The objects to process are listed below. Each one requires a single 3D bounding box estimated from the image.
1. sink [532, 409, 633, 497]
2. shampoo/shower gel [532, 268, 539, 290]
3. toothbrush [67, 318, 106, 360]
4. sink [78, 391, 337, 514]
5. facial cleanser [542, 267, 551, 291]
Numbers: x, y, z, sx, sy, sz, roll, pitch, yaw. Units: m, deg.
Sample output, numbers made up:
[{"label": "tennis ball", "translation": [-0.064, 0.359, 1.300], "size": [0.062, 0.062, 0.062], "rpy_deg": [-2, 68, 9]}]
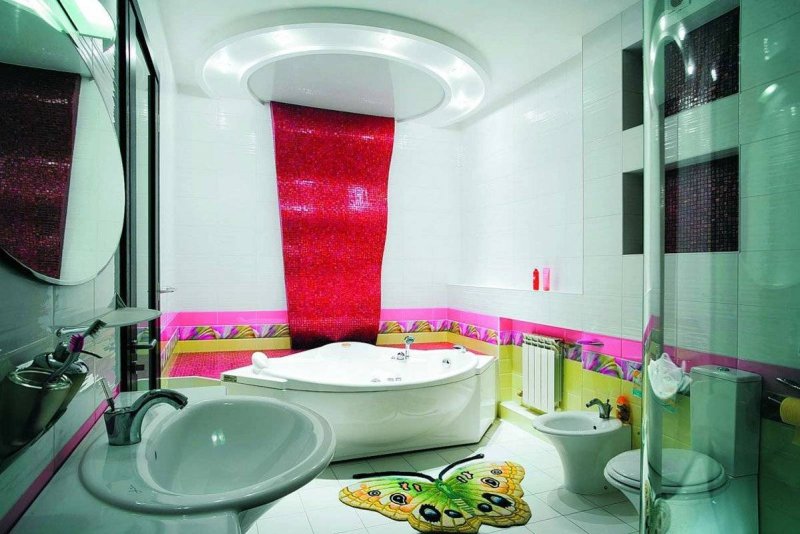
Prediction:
[{"label": "sink", "translation": [1.144, 1.127, 3.264], "size": [0.508, 0.356, 0.472], "rpy_deg": [0, -1, -10]}, {"label": "shampoo/shower gel", "translation": [1.073, 0.094, 4.057], "size": [0.050, 0.153, 0.176], "rpy_deg": [1, 9, 14]}, {"label": "toothbrush", "translation": [-0.889, 0.209, 1.428], "size": [0.061, 0.051, 0.145], "rpy_deg": [21, 24, 3]}, {"label": "sink", "translation": [-0.542, 0.528, 1.622], "size": [0.635, 0.294, 0.681], "rpy_deg": [0, 1, -11]}, {"label": "facial cleanser", "translation": [1.139, 0.091, 3.981], "size": [0.057, 0.160, 0.061], "rpy_deg": [2, 9, 16]}]
